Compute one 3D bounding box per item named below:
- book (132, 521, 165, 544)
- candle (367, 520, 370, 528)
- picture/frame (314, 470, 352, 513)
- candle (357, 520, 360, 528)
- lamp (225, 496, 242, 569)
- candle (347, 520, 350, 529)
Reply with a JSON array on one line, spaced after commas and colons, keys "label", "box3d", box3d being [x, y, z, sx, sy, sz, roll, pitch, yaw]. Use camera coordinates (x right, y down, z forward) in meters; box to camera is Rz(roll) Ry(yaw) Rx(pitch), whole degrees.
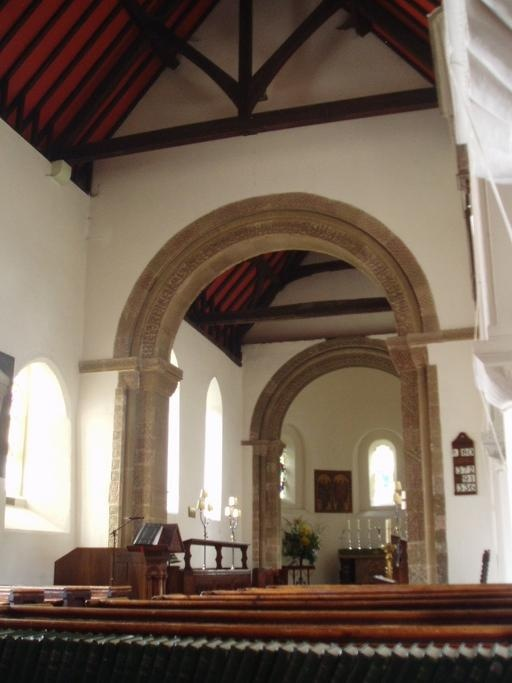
[{"label": "book", "box3d": [-1.019, 1.849, 6.776, 0.278, 0.182, 0.469, 1, -13, -8]}, {"label": "candle", "box3d": [2.626, 4.267, 16.493, 0.076, 0.193, 0.099, -5, -14, 15]}, {"label": "picture/frame", "box3d": [1.765, 3.542, 16.569, 1.010, 0.974, 0.077, 6, -23, -12]}, {"label": "candle", "box3d": [2.395, 4.271, 16.510, 0.081, 0.193, 0.112, -3, -14, 7]}, {"label": "lamp", "box3d": [-0.378, 3.204, 11.744, 0.354, 1.155, 0.338, -7, -17, 18]}, {"label": "candle", "box3d": [2.158, 4.267, 16.463, 0.072, 0.209, 0.090, -5, -14, 16]}]
